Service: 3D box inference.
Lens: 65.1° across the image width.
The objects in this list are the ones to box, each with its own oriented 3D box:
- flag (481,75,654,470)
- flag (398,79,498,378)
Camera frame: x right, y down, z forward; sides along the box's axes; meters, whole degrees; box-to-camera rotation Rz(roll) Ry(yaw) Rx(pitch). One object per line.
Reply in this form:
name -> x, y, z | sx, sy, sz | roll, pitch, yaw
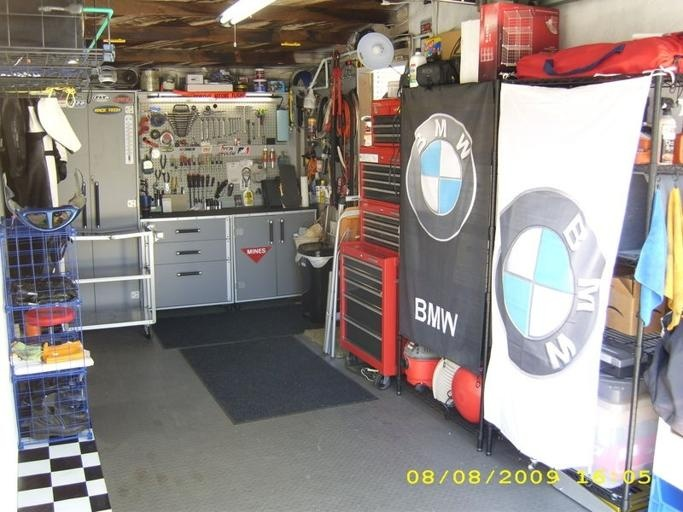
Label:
flag -> 1.258, 0.102, 3.378 | 0.186, 2.412, 1.003 | -7, 14, -29
flag -> 0.769, -0.262, 4.244 | 0.015, 2.135, 1.133 | -7, 14, -26
